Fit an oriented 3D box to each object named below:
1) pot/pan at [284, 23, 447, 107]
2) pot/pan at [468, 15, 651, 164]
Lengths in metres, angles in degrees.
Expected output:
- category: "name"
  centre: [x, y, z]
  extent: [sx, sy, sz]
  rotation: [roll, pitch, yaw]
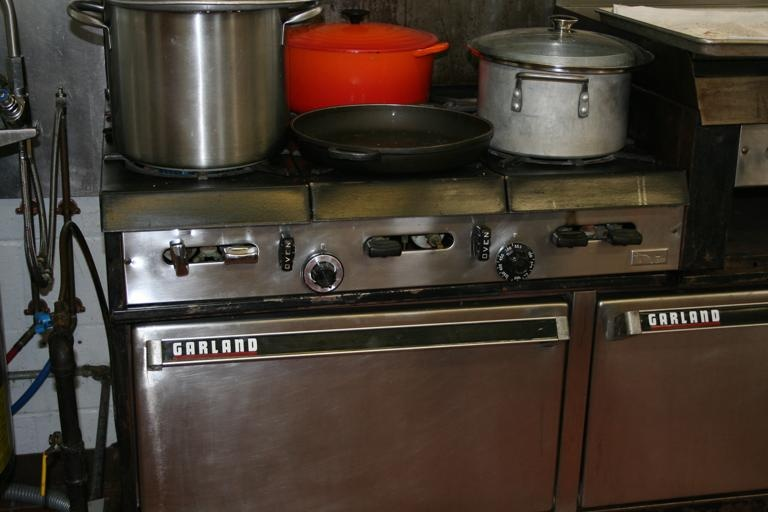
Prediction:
- category: "pot/pan"
  centre: [-0.073, -0.612, 2.368]
  extent: [0.495, 0.240, 0.572]
  rotation: [-16, 25, -37]
- category: "pot/pan"
  centre: [0.508, -0.509, 2.144]
  extent: [0.530, 0.348, 0.514]
  rotation: [-21, 33, -34]
